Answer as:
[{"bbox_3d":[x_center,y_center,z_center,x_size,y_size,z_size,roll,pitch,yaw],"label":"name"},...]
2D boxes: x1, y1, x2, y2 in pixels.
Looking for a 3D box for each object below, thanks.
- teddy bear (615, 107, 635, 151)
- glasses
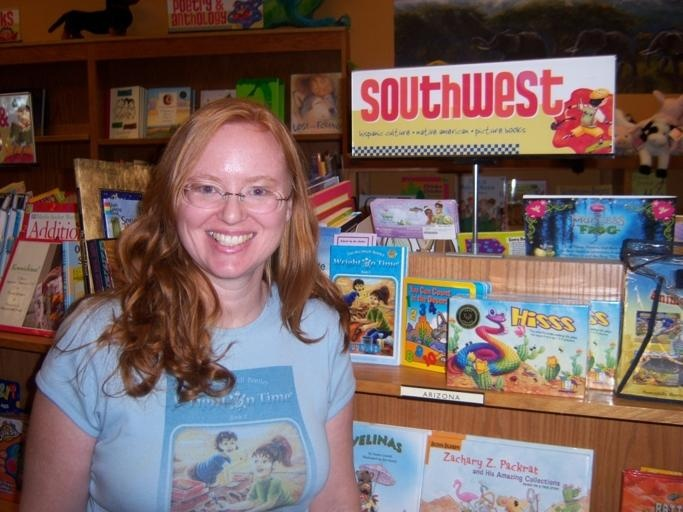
[{"bbox_3d":[1.873,-0.836,3.748,0.114,0.249,0.188,5,14,26],"label":"teddy bear"},{"bbox_3d":[-0.291,-0.161,1.547,0.276,0.091,0.048,-4,13,-13],"label":"glasses"}]
